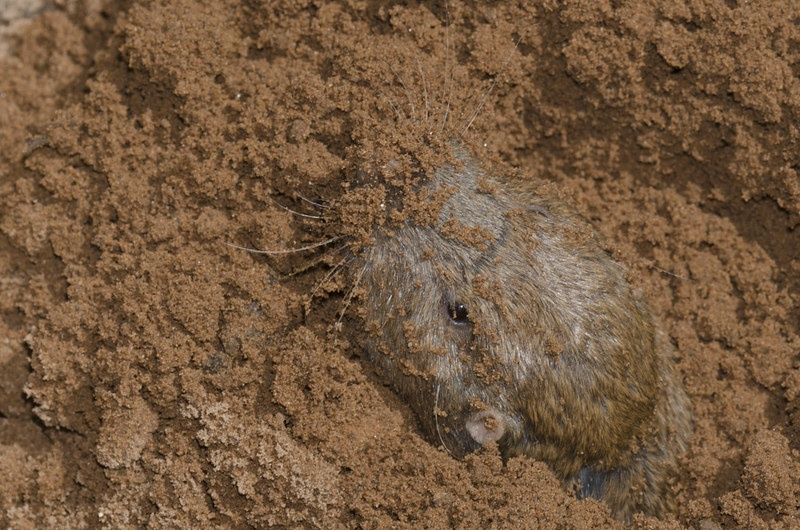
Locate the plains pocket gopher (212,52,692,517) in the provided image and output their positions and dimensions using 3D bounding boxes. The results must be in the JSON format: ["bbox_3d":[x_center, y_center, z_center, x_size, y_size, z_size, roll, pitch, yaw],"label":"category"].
[{"bbox_3d":[2.476,1.571,25.142,7.586,2.710,4.946,30,71,9],"label":"plains pocket gopher"}]
